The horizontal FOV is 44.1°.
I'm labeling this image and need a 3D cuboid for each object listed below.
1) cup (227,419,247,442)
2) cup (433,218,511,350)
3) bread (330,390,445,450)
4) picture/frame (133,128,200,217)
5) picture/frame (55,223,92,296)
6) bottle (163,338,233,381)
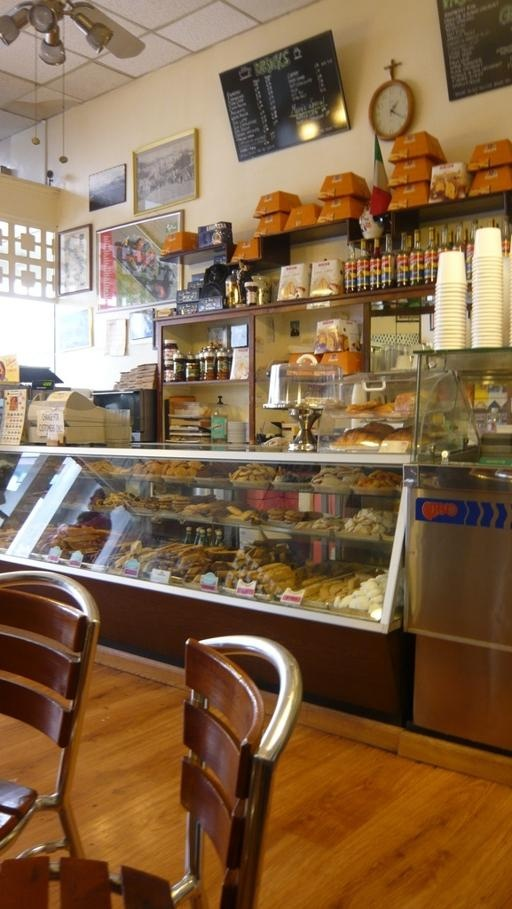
[{"bbox_3d":[-0.133,-0.170,4.548,0.127,0.141,0.133,0,5,0],"label":"cup"},{"bbox_3d":[0.642,-0.493,1.882,0.213,0.328,0.306,0,0,16],"label":"cup"},{"bbox_3d":[0.410,-0.114,2.178,0.301,0.198,0.155,0,1,42],"label":"bread"},{"bbox_3d":[-0.712,-2.336,5.222,0.784,0.646,0.067,4,5,45],"label":"picture/frame"},{"bbox_3d":[-1.742,-1.902,6.110,0.052,0.790,0.667,-3,6,-42],"label":"picture/frame"},{"bbox_3d":[-0.457,-0.701,4.744,0.264,0.209,0.468,-4,5,-37],"label":"bottle"}]
